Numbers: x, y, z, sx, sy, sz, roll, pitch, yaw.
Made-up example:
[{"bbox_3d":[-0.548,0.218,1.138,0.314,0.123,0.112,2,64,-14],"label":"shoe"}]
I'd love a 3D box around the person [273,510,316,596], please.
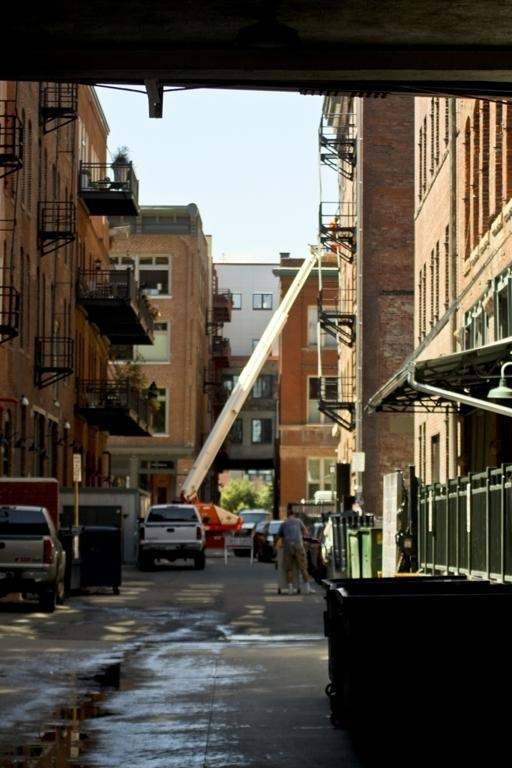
[{"bbox_3d":[0.700,2.981,26.436,0.494,1.611,0.702,0,-3,-10],"label":"person"}]

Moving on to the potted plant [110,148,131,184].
[{"bbox_3d":[-4.203,-6.827,48.077,0.585,1.068,0.842,2,-7,-5],"label":"potted plant"}]

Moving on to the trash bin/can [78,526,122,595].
[{"bbox_3d":[-2.660,3.045,26.465,0.763,1.584,0.946,1,2,0],"label":"trash bin/can"}]
